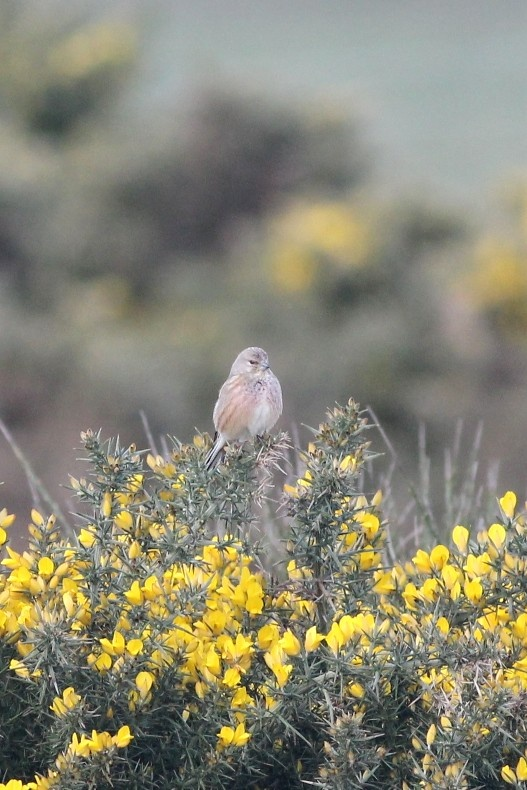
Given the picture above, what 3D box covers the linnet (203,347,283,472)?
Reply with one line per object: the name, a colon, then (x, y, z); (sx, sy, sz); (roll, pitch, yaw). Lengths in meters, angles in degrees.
linnet: (-0.086, 0.031, 4.847); (0.255, 0.418, 0.425); (0, -2, -26)
